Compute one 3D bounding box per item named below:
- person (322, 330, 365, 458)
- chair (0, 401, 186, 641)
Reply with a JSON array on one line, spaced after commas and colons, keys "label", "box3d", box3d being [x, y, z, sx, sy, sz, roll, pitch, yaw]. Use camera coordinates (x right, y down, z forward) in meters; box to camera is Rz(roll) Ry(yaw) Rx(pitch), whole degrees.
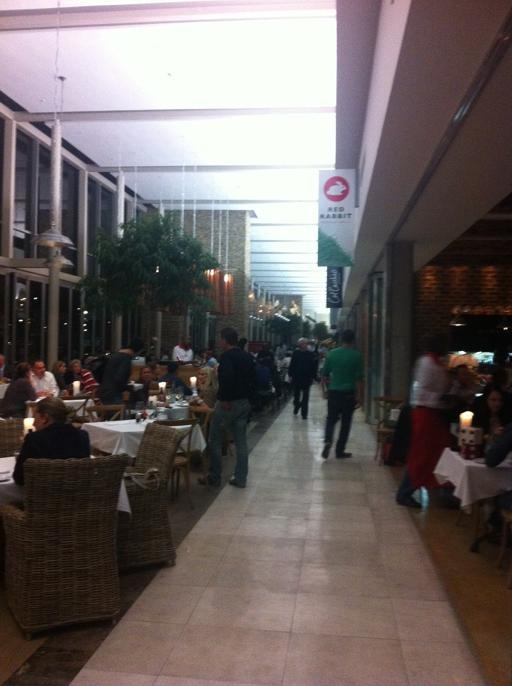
[{"label": "person", "box3d": [1.262, 0.783, 8.422, 0.656, 1.902, 1.076, -3, 0, 8]}, {"label": "chair", "box3d": [-1.038, 1.007, 3.405, 1.030, 1.337, 0.852, -2, 4, -17]}]
